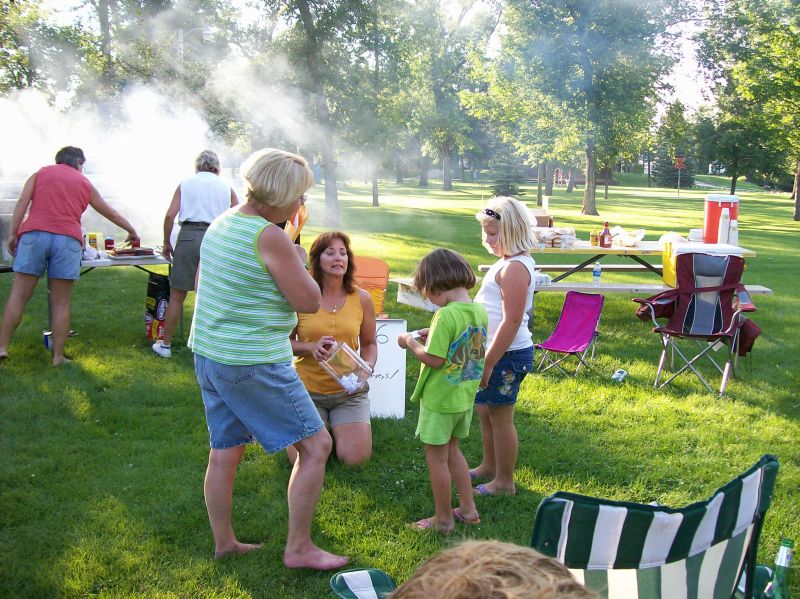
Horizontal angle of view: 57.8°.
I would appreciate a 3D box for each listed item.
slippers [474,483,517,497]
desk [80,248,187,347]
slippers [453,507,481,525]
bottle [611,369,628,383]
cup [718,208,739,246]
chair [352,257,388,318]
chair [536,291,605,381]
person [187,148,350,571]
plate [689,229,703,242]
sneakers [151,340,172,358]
[{"bbox_3d":[0.724,1.433,5.432,0.301,0.136,0.114,9,-18,8],"label":"slippers"},{"bbox_3d":[-3.401,-0.003,9.256,1.126,1.196,0.891,0,-3,7],"label":"desk"},{"bbox_3d":[0.470,1.513,5.097,0.190,0.094,0.091,10,10,26],"label":"slippers"},{"bbox_3d":[2.377,0.816,7.811,0.099,0.047,0.189,5,22,27],"label":"bottle"},{"bbox_3d":[4.655,-1.049,10.238,0.256,0.534,0.495,7,6,23],"label":"cup"},{"bbox_3d":[-0.297,-0.245,8.332,0.450,0.665,0.596,0,-5,-5],"label":"chair"},{"bbox_3d":[1.973,0.358,8.170,0.657,1.089,1.052,6,12,41],"label":"chair"},{"bbox_3d":[-0.816,0.393,4.371,0.930,2.563,0.427,4,5,-7],"label":"person"},{"bbox_3d":[4.336,-0.944,10.585,0.225,0.131,0.237,-3,7,-19],"label":"plate"},{"bbox_3d":[-2.698,0.534,8.216,0.121,0.147,0.318,-9,19,-36],"label":"sneakers"}]
